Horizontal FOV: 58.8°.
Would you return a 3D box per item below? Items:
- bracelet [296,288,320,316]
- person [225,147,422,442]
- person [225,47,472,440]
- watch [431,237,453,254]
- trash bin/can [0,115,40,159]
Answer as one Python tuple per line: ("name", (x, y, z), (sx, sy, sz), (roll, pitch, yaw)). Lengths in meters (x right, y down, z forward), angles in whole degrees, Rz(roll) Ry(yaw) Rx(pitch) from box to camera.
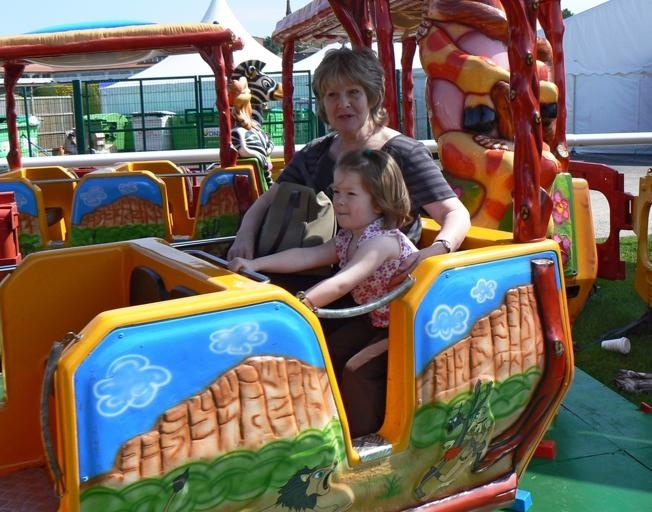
("bracelet", (-0.046, 0.139, 1.709), (0.068, 0.026, 0.053), (34, 13, -36))
("person", (0.069, 0.083, 2.113), (0.527, 0.926, 0.561), (8, 15, 35))
("person", (0.162, 0.059, 2.390), (0.796, 1.742, 0.877), (-4, 15, 11))
("watch", (0.411, -0.036, 2.041), (0.060, 0.041, 0.075), (4, 15, 19))
("trash bin/can", (-7.494, -2.946, 14.109), (0.898, 0.980, 1.416), (-6, 14, -22))
